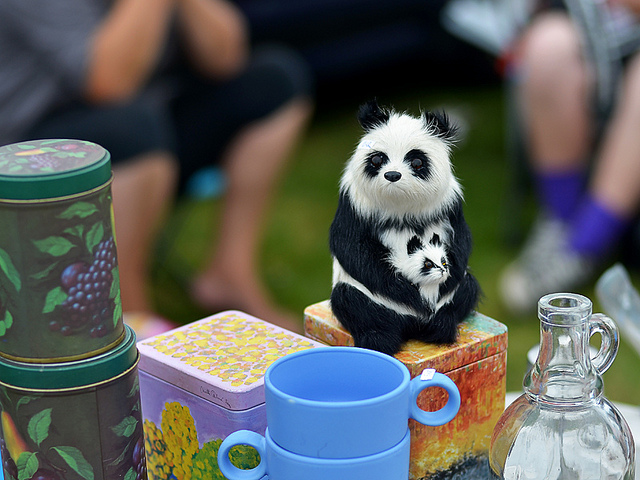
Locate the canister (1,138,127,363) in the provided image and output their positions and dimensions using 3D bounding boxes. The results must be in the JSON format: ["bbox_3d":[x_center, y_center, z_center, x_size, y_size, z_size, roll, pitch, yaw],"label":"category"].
[{"bbox_3d":[-0.341,0.009,0.984,0.154,0.249,0.154,-1,19,0],"label":"canister"}]
